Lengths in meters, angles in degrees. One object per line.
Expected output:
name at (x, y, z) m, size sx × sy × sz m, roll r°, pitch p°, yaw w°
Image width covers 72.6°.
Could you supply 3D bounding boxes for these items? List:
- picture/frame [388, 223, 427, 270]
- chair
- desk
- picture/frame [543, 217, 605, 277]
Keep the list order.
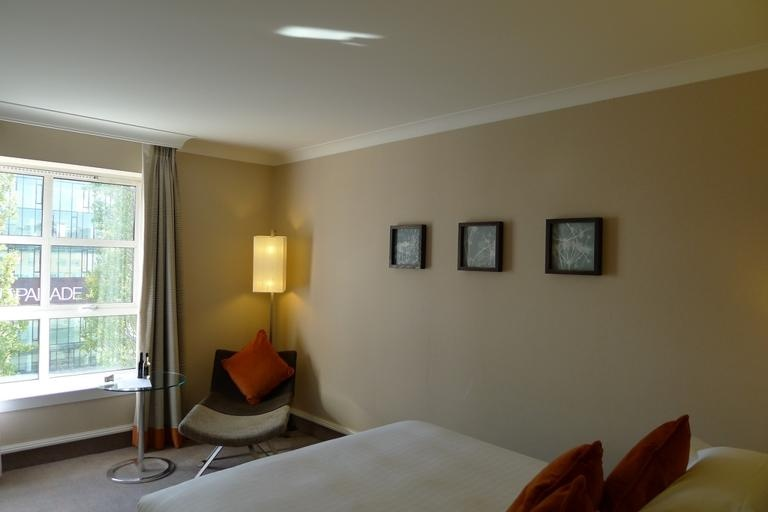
picture/frame at (0.245, -0.085, 4.988) m, size 0.080 × 0.413 × 0.416 m, roll 4°, pitch -6°, yaw -41°
chair at (-1.335, 1.449, 4.976) m, size 0.717 × 0.867 × 0.989 m, roll -1°, pitch -19°, yaw -1°
desk at (-2.201, 1.693, 4.893) m, size 0.737 × 0.635 × 0.751 m, roll 6°, pitch -30°, yaw -27°
picture/frame at (1.483, -0.067, 4.025) m, size 0.442 × 0.496 × 0.050 m, roll 2°, pitch 1°, yaw 41°
